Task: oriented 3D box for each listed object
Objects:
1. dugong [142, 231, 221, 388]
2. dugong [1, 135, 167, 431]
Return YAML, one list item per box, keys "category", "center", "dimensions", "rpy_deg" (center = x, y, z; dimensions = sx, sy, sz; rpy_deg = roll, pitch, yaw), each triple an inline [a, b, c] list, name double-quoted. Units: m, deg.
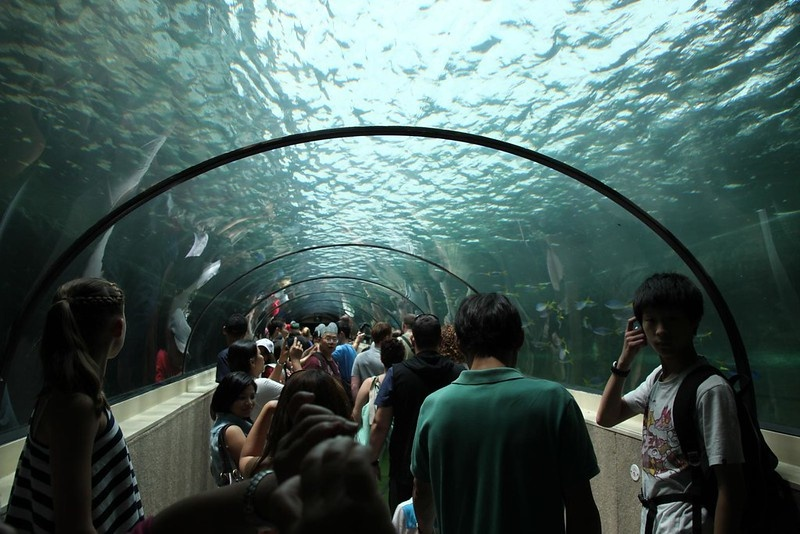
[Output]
- category: "dugong"
  center: [-4.308, 0.870, 8.925]
  dimensions: [1.227, 2.890, 1.475]
  rpy_deg: [15, -41, -24]
- category: "dugong"
  center: [-3.756, 0.192, 5.435]
  dimensions: [0.803, 3.763, 0.811]
  rpy_deg: [12, 20, -34]
